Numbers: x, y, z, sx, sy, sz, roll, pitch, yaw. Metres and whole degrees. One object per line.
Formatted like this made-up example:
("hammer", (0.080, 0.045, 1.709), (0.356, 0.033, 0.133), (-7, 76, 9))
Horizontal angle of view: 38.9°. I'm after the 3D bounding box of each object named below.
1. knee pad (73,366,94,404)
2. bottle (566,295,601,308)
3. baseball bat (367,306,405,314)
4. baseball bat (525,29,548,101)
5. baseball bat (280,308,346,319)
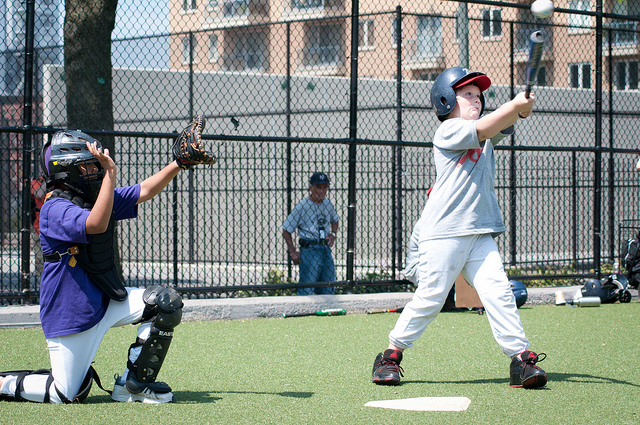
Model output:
("knee pad", (-2.659, 1.949, 10.245), (0.247, 0.361, 0.195), (15, 23, 31))
("bottle", (4.092, 1.387, 14.133), (0.500, 0.177, 0.163), (-2, -29, 15))
("baseball bat", (1.004, 1.489, 13.839), (0.553, 0.067, 0.113), (-1, 3, -12))
("baseball bat", (2.389, -1.649, 10.161), (0.172, 0.769, 0.147), (-21, 35, -37))
("baseball bat", (-0.083, 1.496, 13.558), (0.991, 0.097, 0.127), (-1, 3, -10))
